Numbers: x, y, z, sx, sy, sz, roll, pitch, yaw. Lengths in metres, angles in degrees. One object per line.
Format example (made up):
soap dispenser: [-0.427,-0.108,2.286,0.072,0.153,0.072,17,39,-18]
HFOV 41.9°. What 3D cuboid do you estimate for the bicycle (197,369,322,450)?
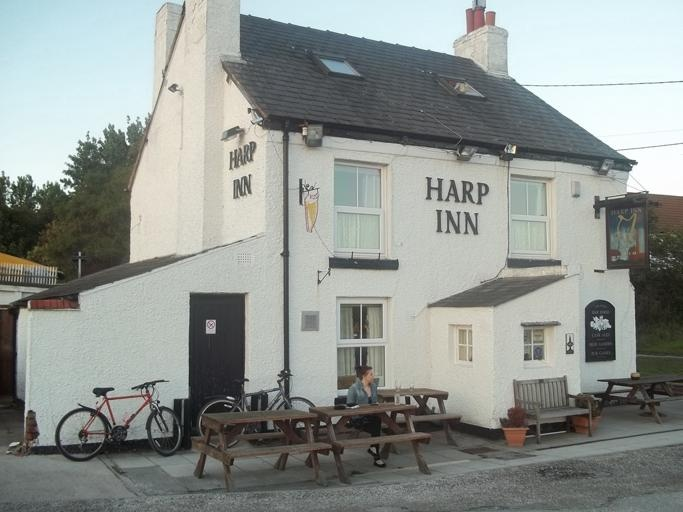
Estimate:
bicycle: [-1.742,3.229,18.807,2.534,1.620,1.118,-1,14,-13]

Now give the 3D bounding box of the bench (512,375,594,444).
bench: [4.489,3.230,18.920,1.612,1.233,0.817,1,-4,-34]

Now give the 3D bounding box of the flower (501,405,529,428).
flower: [3.602,3.341,18.462,0.488,0.359,0.378,4,-4,-35]

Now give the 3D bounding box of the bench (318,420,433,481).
bench: [0.693,3.571,17.244,1.969,1.129,1.879,0,10,-3]

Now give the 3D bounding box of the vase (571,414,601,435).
vase: [5.274,3.678,19.281,0.453,0.315,0.430,4,-12,-16]

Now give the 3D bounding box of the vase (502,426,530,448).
vase: [3.601,3.739,18.423,0.452,0.344,0.404,0,-5,3]

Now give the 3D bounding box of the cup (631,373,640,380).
cup: [6.939,2.831,20.953,0.158,0.121,0.161,0,2,0]

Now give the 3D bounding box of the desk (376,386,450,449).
desk: [1.816,3.472,19.103,1.182,0.935,1.241,1,-4,-27]

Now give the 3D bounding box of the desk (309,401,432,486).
desk: [0.393,3.728,17.359,1.550,0.867,1.614,0,0,-24]
